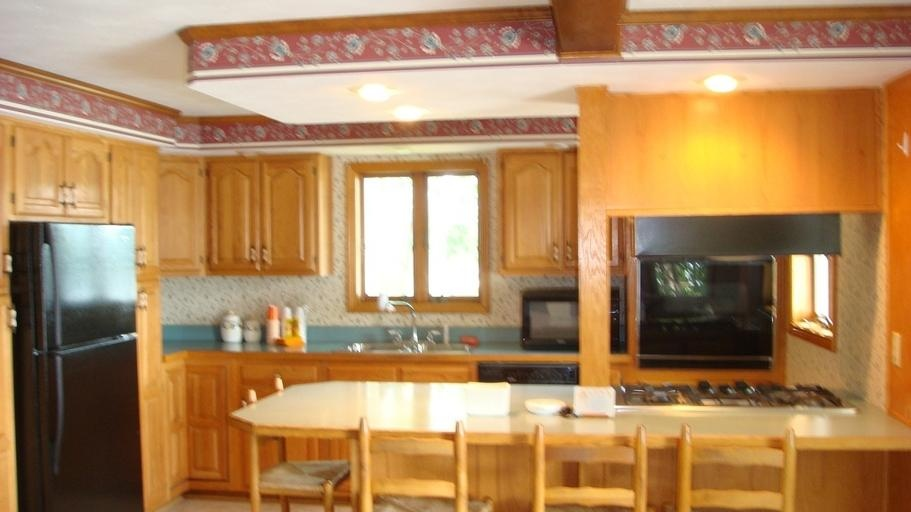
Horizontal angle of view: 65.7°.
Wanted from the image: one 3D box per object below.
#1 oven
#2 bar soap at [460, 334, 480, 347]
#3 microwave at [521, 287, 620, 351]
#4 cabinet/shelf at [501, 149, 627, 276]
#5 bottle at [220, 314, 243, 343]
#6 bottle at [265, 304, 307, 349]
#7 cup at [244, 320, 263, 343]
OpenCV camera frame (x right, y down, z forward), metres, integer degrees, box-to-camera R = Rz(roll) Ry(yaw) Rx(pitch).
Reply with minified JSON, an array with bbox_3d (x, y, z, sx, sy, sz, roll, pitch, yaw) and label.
[{"bbox_3d":[2.153,0.460,5.904,1.229,0.821,0.589,0,3,13],"label":"oven"},{"bbox_3d":[0.124,0.807,6.837,0.126,0.049,0.122,-1,2,-43],"label":"bar soap"},{"bbox_3d":[1.030,0.533,6.739,1.104,0.548,0.618,0,-2,2],"label":"microwave"},{"bbox_3d":[0.961,-0.407,6.074,1.500,1.135,0.564,0,3,9],"label":"cabinet/shelf"},{"bbox_3d":[-2.255,0.713,7.081,0.213,0.287,0.275,-3,10,-17],"label":"bottle"},{"bbox_3d":[-1.689,0.694,7.024,0.480,0.478,0.432,0,-2,-21],"label":"bottle"},{"bbox_3d":[-2.046,0.756,7.210,0.241,0.193,0.212,3,1,3],"label":"cup"}]
